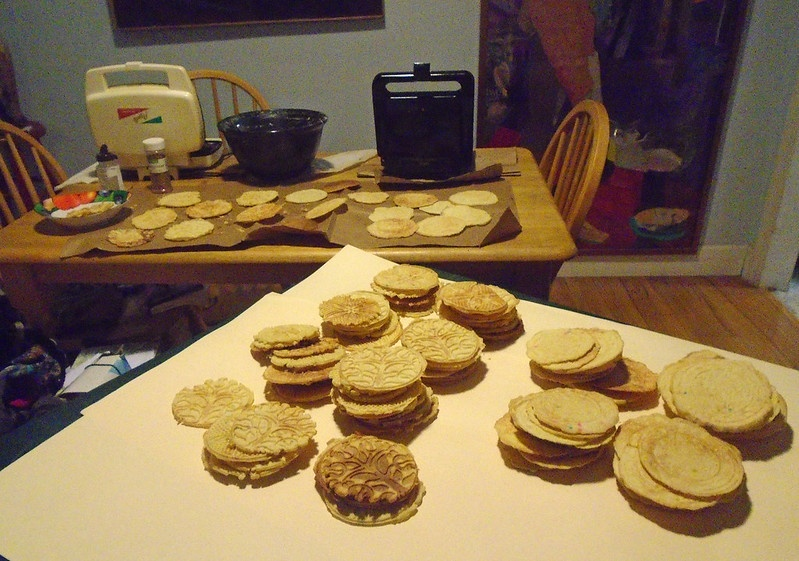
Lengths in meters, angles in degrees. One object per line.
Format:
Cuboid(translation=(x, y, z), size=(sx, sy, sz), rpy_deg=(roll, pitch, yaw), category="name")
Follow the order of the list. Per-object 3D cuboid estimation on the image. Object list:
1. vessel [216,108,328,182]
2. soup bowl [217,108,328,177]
Cuboid(translation=(-0.467, -0.542, 2.425), size=(0.327, 0.168, 0.317), rpy_deg=(4, 30, 5), category="vessel")
Cuboid(translation=(-0.489, -0.543, 2.423), size=(0.318, 0.163, 0.313), rpy_deg=(1, 31, -1), category="soup bowl")
